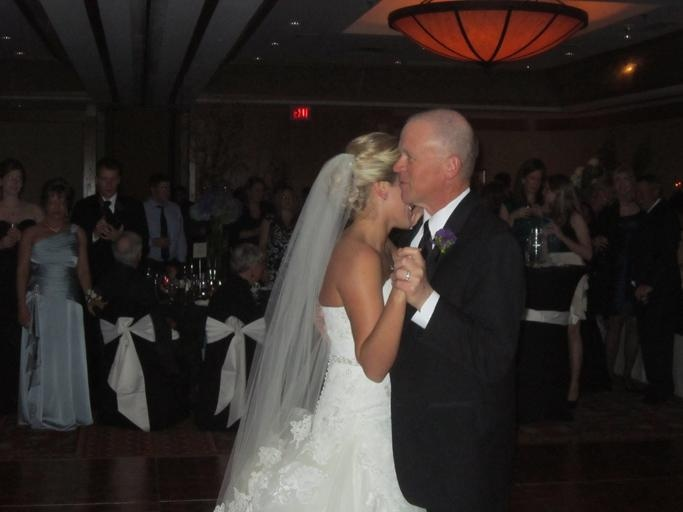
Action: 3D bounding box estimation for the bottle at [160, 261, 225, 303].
[{"bbox_3d":[-1.360,0.207,5.422,0.435,0.686,0.464,1,4,0],"label":"bottle"}]

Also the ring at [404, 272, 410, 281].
[{"bbox_3d":[0.223,0.064,1.969,0.018,0.037,0.020,-1,-6,0],"label":"ring"}]

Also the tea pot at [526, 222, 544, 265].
[{"bbox_3d":[1.651,-0.102,4.986,0.154,0.316,0.314,4,8,26],"label":"tea pot"}]

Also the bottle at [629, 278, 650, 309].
[{"bbox_3d":[2.932,0.348,5.728,0.146,0.211,0.211,-1,-18,-3],"label":"bottle"}]
